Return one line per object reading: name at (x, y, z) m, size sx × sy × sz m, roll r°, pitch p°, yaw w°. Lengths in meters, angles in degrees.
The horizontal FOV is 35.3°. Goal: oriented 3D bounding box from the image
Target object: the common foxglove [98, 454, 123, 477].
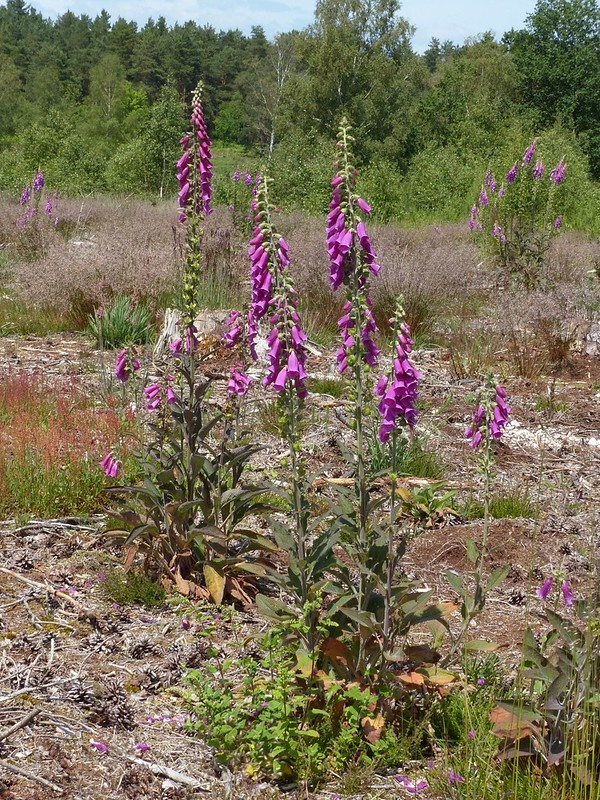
common foxglove at (-0.899, 0.326, 4.426) m, size 0.080 × 0.124 × 0.062 m, roll 32°, pitch -41°, yaw -7°
